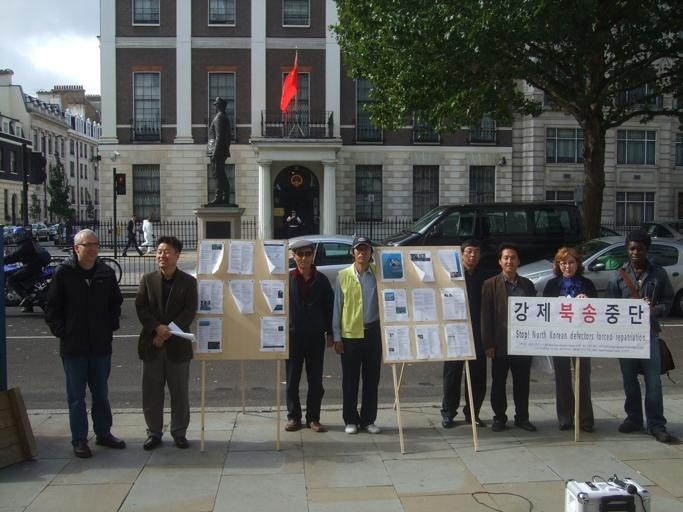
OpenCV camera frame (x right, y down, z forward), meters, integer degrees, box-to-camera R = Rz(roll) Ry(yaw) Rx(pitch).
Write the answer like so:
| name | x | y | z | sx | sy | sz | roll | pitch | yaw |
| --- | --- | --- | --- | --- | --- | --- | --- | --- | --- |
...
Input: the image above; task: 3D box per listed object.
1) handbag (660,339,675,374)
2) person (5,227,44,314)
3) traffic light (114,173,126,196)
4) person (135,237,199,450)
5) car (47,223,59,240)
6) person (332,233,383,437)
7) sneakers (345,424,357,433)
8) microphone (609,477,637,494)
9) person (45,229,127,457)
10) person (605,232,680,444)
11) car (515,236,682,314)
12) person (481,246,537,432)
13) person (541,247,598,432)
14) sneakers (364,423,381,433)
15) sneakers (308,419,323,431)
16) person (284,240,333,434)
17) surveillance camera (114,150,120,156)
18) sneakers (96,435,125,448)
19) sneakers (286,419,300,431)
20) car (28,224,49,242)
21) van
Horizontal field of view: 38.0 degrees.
| name | x | y | z | sx | sy | sz | roll | pitch | yaw |
| --- | --- | --- | --- | --- | --- | --- | --- | --- | --- |
| handbag | 5.409 | 1.699 | 16.535 | 0.233 | 0.682 | 0.473 | 4 | 13 | 20 |
| person | -7.681 | 0.457 | 24.175 | 0.907 | 1.866 | 1.023 | -5 | 13 | -20 |
| traffic light | -7.523 | -2.405 | 33.589 | 0.350 | 0.603 | 0.678 | -4 | 13 | -18 |
| person | -2.813 | 1.370 | 16.061 | 0.969 | 3.275 | 1.010 | -3 | 12 | -13 |
| car | -17.477 | -1.413 | 60.023 | 0.842 | 0.733 | 1.901 | 1 | 9 | -6 |
| person | 0.263 | 1.318 | 16.550 | 0.805 | 3.106 | 0.899 | 0 | 12 | 1 |
| sneakers | 0.165 | 2.862 | 16.446 | 0.130 | 0.104 | 0.246 | 2 | 0 | 0 |
| microphone | 4.057 | 3.312 | 14.346 | 0.127 | 0.186 | 0.539 | 4 | -3 | -11 |
| person | -4.081 | 1.367 | 15.786 | 1.146 | 3.425 | 0.994 | -4 | 12 | -18 |
| person | 5.005 | 1.286 | 16.376 | 0.912 | 3.250 | 1.304 | -5 | 13 | -22 |
| car | 6.223 | 0.171 | 23.408 | 3.685 | 1.808 | 2.084 | 1 | 2 | 2 |
| person | 2.772 | 1.360 | 16.584 | 0.898 | 2.993 | 0.835 | 1 | 12 | 9 |
| person | 3.816 | 1.373 | 16.627 | 0.900 | 2.912 | 0.922 | 2 | 12 | 12 |
| sneakers | 0.514 | 2.871 | 16.494 | 0.125 | 0.094 | 0.219 | -1 | -6 | -30 |
| sneakers | -0.422 | 2.848 | 16.556 | 0.114 | 0.111 | 0.248 | -2 | -6 | -33 |
| person | -0.532 | 1.327 | 16.582 | 0.784 | 3.047 | 0.858 | -1 | 12 | -2 |
| surveillance camera | -8.964 | -4.055 | 39.529 | 0.208 | 0.126 | 0.305 | 1 | 2 | -6 |
| sneakers | -3.703 | 2.987 | 15.890 | 0.404 | 0.175 | 0.201 | 2 | 1 | 1 |
| sneakers | -0.809 | 2.822 | 16.551 | 0.263 | 0.154 | 0.186 | -2 | 13 | -6 |
| car | -15.586 | -1.163 | 51.049 | 0.988 | 0.968 | 2.151 | 0 | -1 | 2 |
| van | 4.055 | -0.744 | 25.892 | 3.619 | 1.824 | 2.303 | 0 | 1 | -7 |
